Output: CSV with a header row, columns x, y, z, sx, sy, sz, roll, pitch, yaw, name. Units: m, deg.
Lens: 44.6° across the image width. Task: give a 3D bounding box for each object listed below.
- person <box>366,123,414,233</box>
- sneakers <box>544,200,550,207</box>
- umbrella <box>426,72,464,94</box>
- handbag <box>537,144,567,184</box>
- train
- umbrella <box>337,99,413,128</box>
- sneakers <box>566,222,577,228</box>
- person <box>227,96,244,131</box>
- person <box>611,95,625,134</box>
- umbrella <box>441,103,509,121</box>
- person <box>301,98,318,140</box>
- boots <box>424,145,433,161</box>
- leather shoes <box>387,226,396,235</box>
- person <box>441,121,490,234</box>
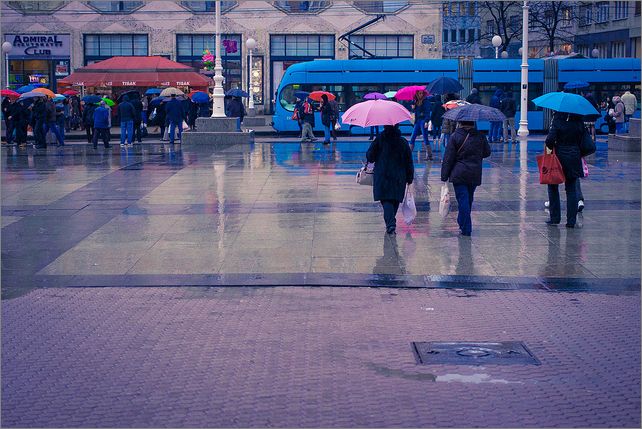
x,y,z,sx,sy,sz,roll,pitch,yaw,name
1.115,-0.593,12.831,0.736,1.738,0.494,0,11,3,person
4.282,-0.203,14.843,0.135,0.084,0.224,0,5,2,sneakers
3.772,-3.987,24.420,0.833,0.375,0.799,-5,18,-4,umbrella
3.856,-0.795,13.139,0.452,0.604,0.362,2,12,14,handbag
11.045,-6.407,36.678,25.751,4.707,5.173,0,5,1,train
0.875,-1.666,12.832,0.706,0.256,0.679,-2,17,-3,umbrella
4.149,0.177,13.034,0.153,0.067,0.135,1,12,5,sneakers
-3.353,-4.073,30.420,0.543,1.091,2.028,-2,12,-7,person
11.497,-3.880,30.461,0.494,1.461,2.283,3,12,19,person
2.518,-1.666,12.737,0.877,0.242,0.556,-1,12,-4,umbrella
-0.524,-3.644,30.086,0.563,1.683,1.076,-1,11,-2,person
3.105,-1.804,22.674,0.165,0.451,0.379,1,12,8,boots
1.150,0.251,12.778,0.101,0.108,0.127,-10,28,-37,leather shoes
2.313,-0.623,12.792,0.644,1.795,0.721,5,13,28,person
